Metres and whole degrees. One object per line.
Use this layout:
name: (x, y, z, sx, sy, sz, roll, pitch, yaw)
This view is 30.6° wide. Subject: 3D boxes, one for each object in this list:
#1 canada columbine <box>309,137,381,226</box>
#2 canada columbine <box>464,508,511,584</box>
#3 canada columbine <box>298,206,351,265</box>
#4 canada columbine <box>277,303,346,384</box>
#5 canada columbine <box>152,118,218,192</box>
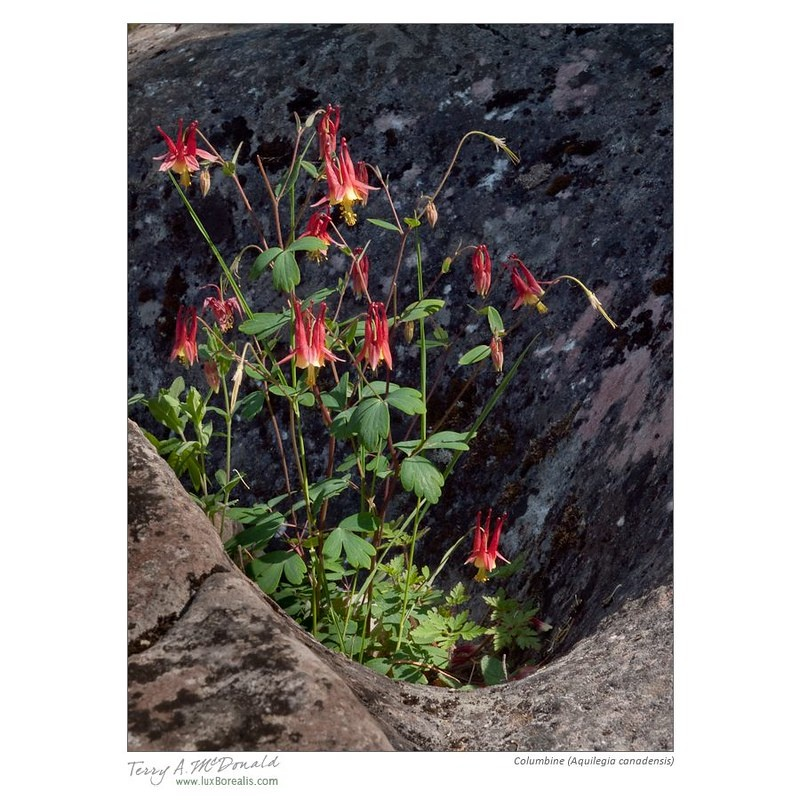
canada columbine: (-0.180, -0.758, 5.063, 0.187, 0.304, 0.242, -8, 11, 1)
canada columbine: (0.337, 0.550, 5.477, 0.114, 0.284, 0.158, 3, 8, -23)
canada columbine: (-0.264, -0.566, 5.152, 0.139, 0.200, 0.185, 2, 23, -24)
canada columbine: (-0.295, -0.196, 5.029, 0.164, 0.285, 0.322, 0, 7, -5)
canada columbine: (-0.744, -0.874, 5.216, 0.229, 0.269, 0.246, 2, 14, -38)
